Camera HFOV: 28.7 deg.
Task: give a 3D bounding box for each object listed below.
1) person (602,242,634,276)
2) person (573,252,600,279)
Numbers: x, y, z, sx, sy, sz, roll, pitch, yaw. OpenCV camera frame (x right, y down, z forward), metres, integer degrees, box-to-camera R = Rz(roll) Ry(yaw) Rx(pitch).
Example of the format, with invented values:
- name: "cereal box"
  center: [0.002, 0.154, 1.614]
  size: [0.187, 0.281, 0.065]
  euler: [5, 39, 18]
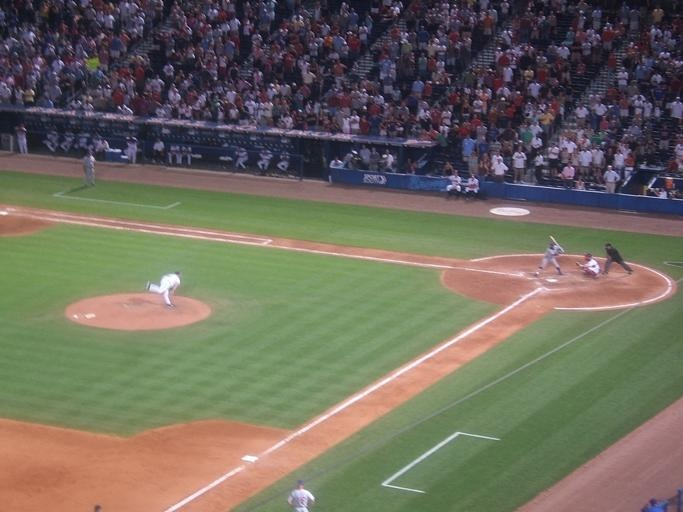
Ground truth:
- name: "person"
  center: [13.029, 0.183, 62.923]
  size: [1.684, 0.478, 1.832]
  euler: [-4, -27, 19]
- name: "person"
  center: [11.605, 0.269, 62.150]
  size: [1.125, 1.126, 2.391]
  euler: [7, 11, 10]
